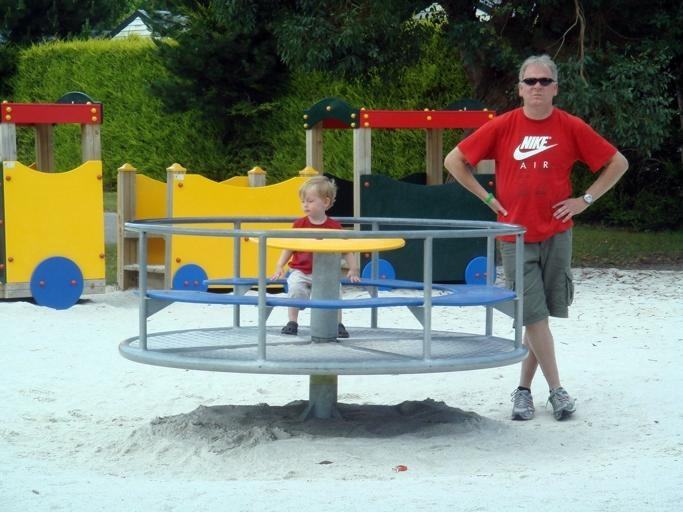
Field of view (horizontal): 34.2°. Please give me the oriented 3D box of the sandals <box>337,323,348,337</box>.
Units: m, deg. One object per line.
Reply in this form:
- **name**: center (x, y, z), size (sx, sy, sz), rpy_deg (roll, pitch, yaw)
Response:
- **sandals**: center (0.000, 0.593, 8.787), size (0.114, 0.107, 0.295), rpy_deg (1, -4, -6)

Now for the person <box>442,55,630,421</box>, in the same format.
- **person**: center (1.492, -0.127, 8.471), size (1.274, 2.734, 0.597), rpy_deg (2, 14, 11)

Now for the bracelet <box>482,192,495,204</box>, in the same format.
- **bracelet**: center (1.119, -0.437, 8.456), size (0.082, 0.031, 0.079), rpy_deg (-30, 15, 18)

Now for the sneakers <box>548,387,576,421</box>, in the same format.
- **sneakers**: center (1.669, 1.137, 8.526), size (0.132, 0.144, 0.309), rpy_deg (-35, 12, 5)

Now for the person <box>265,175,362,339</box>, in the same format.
- **person**: center (-0.222, 0.032, 9.019), size (0.697, 1.333, 1.064), rpy_deg (-1, 13, -1)
